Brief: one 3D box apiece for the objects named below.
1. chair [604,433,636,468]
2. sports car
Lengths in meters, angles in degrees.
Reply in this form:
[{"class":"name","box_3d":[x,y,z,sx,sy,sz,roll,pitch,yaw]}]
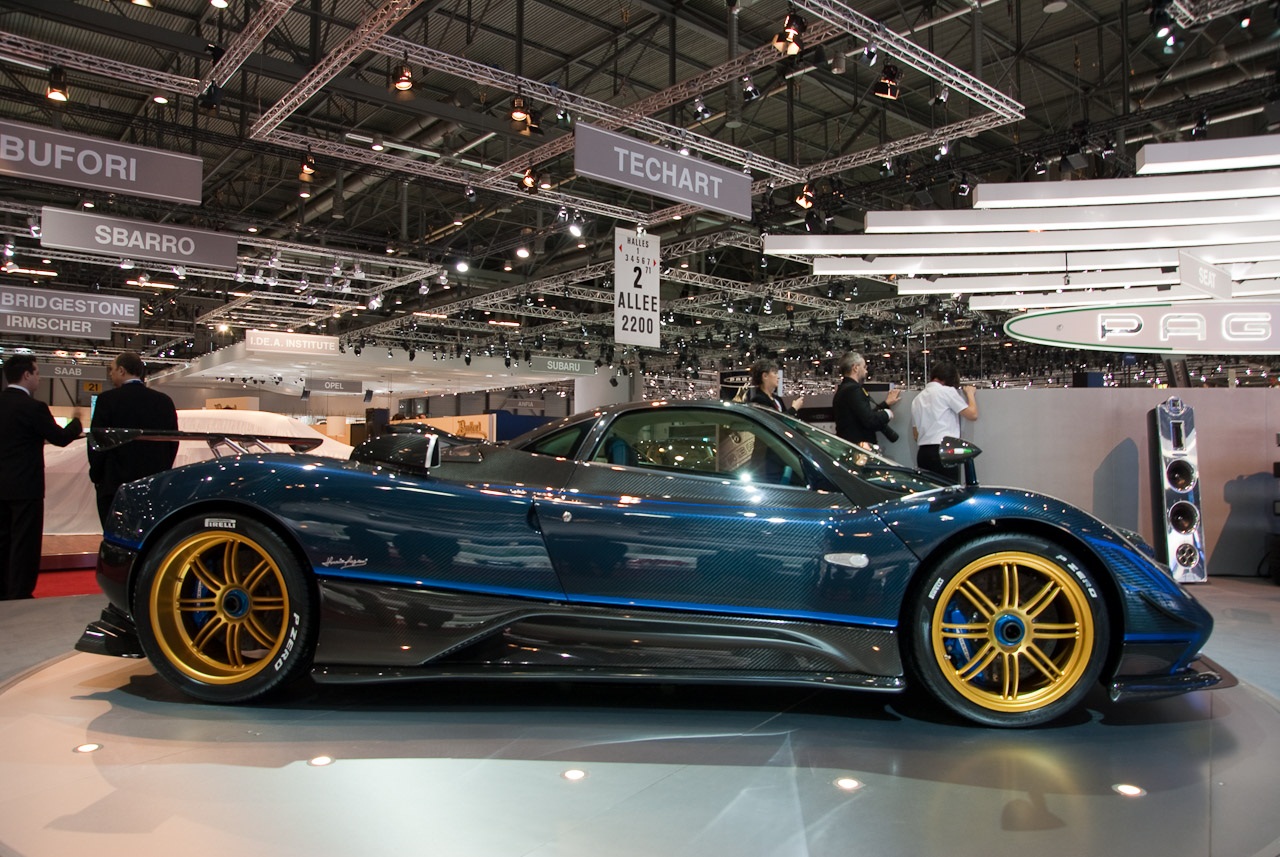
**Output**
[{"class":"chair","box_3d":[-0.091,0.133,4.705,0.177,0.165,0.273,-9,-7,14]},{"class":"sports car","box_3d":[0.031,0.660,4.786,4.892,0.922,2.137,0,-4,0]}]
